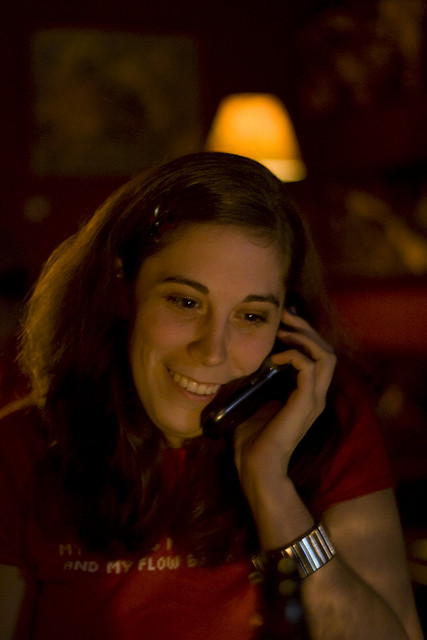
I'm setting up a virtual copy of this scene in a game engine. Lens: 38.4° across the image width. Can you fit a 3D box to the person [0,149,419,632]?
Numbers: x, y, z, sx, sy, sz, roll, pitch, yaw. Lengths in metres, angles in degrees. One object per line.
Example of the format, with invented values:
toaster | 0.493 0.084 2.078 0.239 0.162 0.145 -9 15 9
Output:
person | -0.060 0.129 1.189 0.725 0.854 0.324 -1 21 1
